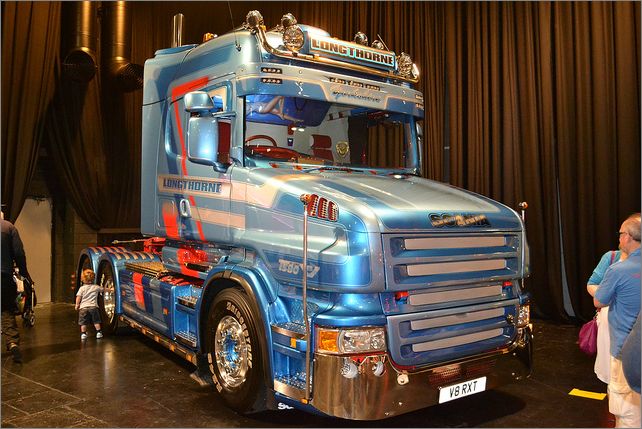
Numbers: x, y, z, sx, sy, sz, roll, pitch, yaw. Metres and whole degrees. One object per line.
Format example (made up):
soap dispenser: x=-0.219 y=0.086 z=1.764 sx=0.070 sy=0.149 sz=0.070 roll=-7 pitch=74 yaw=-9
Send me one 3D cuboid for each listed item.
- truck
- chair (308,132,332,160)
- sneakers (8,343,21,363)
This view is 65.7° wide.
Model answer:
truck: x=-0.591 y=0.088 z=7.488 sx=3.062 sy=3.916 sz=6.298 roll=2 pitch=-2 yaw=-34
chair: x=0.006 y=-0.850 z=6.258 sx=0.194 sy=0.392 sz=0.313 roll=0 pitch=7 yaw=-24
sneakers: x=-4.372 y=1.997 z=7.118 sx=0.101 sy=0.226 sz=0.204 roll=-7 pitch=18 yaw=-25
